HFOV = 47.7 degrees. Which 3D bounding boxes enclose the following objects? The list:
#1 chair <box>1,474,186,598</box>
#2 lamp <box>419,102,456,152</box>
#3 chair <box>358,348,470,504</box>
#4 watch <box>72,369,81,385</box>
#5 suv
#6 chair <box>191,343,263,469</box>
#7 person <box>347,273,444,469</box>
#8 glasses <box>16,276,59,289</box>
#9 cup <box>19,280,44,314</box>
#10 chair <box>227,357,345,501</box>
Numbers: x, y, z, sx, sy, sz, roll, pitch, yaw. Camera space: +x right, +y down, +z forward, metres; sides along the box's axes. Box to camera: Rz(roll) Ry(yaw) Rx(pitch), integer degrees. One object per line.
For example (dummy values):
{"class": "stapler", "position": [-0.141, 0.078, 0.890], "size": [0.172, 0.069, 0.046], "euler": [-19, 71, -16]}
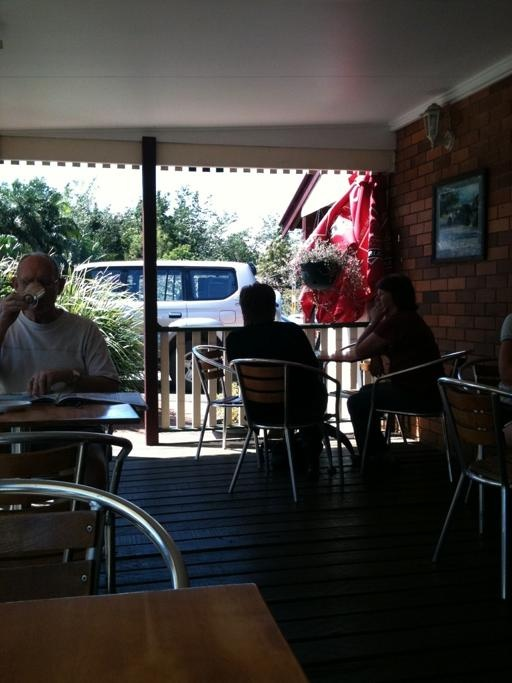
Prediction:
{"class": "chair", "position": [-0.249, 0.273, 0.936], "size": [0.250, 0.296, 0.217], "euler": [1, 4, 0]}
{"class": "lamp", "position": [1.423, -1.692, 4.623], "size": [0.192, 0.382, 0.363], "euler": [-1, 2, -4]}
{"class": "chair", "position": [1.112, 0.481, 4.316], "size": [0.897, 1.185, 0.817], "euler": [1, 0, 17]}
{"class": "watch", "position": [-0.747, 0.145, 2.395], "size": [0.050, 0.056, 0.057], "euler": [2, 4, -22]}
{"class": "suv", "position": [-1.030, -0.382, 7.994], "size": [2.665, 1.261, 1.590], "euler": [1, 0, -4]}
{"class": "chair", "position": [-0.289, 0.444, 4.772], "size": [0.761, 1.028, 0.803], "euler": [0, 3, 18]}
{"class": "person", "position": [0.936, 0.173, 4.073], "size": [0.578, 1.262, 0.927], "euler": [-1, 2, -10]}
{"class": "glasses", "position": [-0.963, -0.259, 2.538], "size": [0.107, 0.042, 0.119], "euler": [-3, 0, 3]}
{"class": "cup", "position": [-0.934, -0.185, 2.442], "size": [0.082, 0.095, 0.138], "euler": [-1, 2, -16]}
{"class": "chair", "position": [0.197, 0.502, 3.699], "size": [0.691, 0.845, 0.890], "euler": [0, 2, 7]}
